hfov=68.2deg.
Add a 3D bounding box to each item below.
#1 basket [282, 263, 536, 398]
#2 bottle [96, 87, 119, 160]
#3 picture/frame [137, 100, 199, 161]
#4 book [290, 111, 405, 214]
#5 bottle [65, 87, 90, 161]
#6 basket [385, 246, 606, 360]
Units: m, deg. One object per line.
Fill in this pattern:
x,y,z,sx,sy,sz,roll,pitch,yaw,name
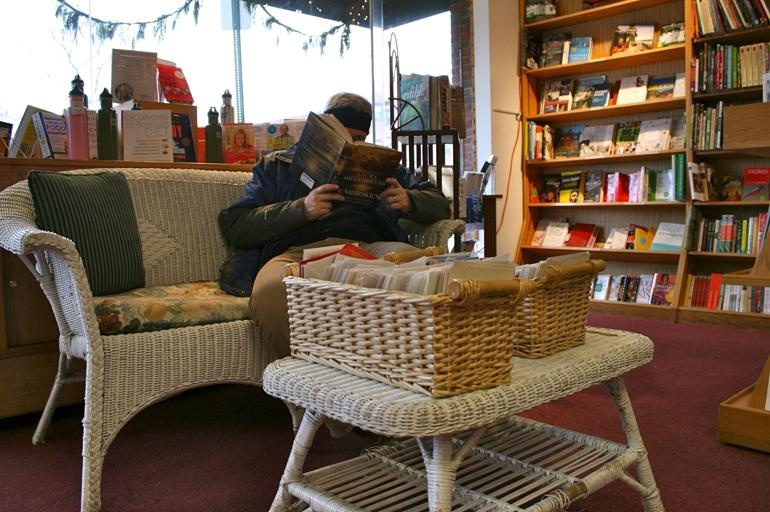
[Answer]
0.019,0.164,1.512,0.511,0.209,0.347,0,1,45,basket
-1.307,-0.621,2.654,0.095,0.335,0.139,-4,12,-24,bottle
-1.095,-0.632,2.878,0.280,0.299,0.241,-2,11,-18,picture/frame
-0.184,-0.381,2.204,0.433,0.140,0.387,15,-29,3,book
-1.400,-0.610,2.582,0.095,0.337,0.251,-5,12,-28,bottle
0.381,0.119,1.592,0.445,0.188,0.315,-4,4,-31,basket
